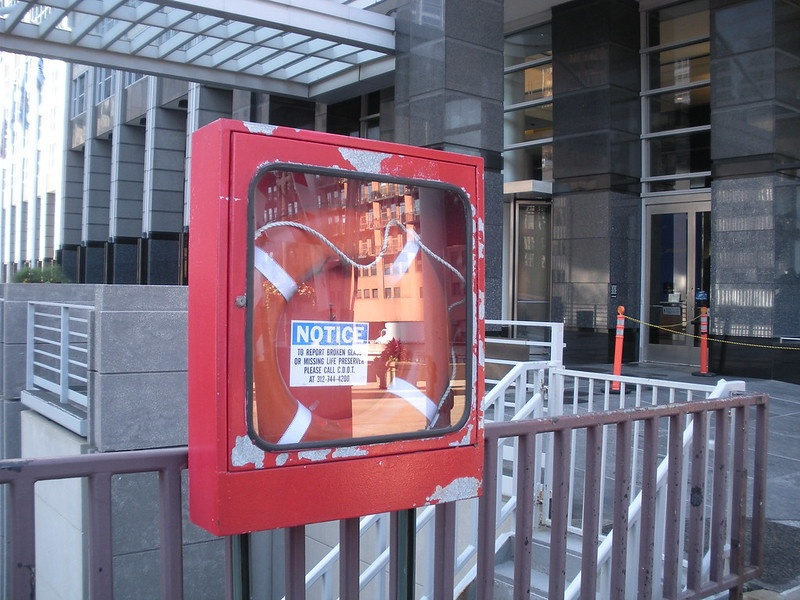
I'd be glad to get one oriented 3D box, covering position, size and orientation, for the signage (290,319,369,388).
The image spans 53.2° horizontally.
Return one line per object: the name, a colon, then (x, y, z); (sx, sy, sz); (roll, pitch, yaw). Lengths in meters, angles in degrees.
signage: (-0.401, 0.283, 4.311); (0.339, 0.311, 0.112); (1, 0, -20)
